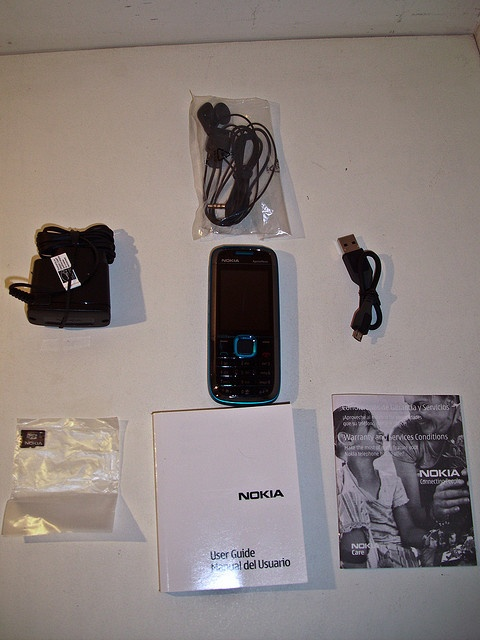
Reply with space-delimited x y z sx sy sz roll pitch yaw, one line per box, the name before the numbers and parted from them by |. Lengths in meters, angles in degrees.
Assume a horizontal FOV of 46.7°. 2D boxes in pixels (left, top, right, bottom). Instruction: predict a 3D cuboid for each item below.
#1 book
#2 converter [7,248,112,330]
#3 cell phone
book | -0.021 0.320 1.004 0.276 0.331 0.027 0 -10 -1
converter | -0.327 -0.061 1.034 0.172 0.143 0.078 3 -10 -12
cell phone | 0.009 0.003 1.046 0.129 0.299 0.019 1 -10 -2
